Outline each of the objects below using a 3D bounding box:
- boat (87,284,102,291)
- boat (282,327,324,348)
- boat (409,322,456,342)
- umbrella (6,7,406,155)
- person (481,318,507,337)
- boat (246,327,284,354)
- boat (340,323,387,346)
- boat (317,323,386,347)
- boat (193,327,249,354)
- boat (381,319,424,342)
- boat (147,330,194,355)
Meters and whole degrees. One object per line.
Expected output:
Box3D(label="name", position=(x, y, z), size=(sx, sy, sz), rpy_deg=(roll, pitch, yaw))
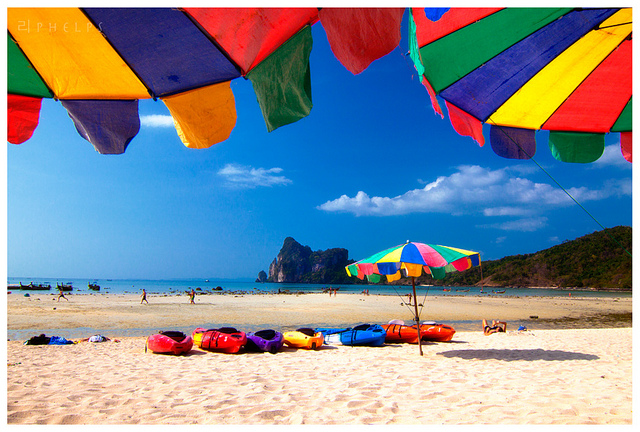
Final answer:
Box3D(label="boat", position=(-21.356, 6.839, 50.232), size=(1.010, 0.349, 0.974), rpy_deg=(0, -5, 10))
Box3D(label="boat", position=(-0.414, 2.947, 12.769), size=(0.789, 0.241, 0.468), rpy_deg=(-2, -6, 21))
Box3D(label="boat", position=(3.009, 2.960, 13.777), size=(0.920, 0.291, 0.553), rpy_deg=(-3, -23, -5))
Box3D(label="umbrella", position=(-1.913, -1.918, 7.091), size=(5.149, 1.953, 0.709), rpy_deg=(-4, 1, 4))
Box3D(label="person", position=(5.238, 3.354, 15.880), size=(0.657, 0.363, 1.310), rpy_deg=(-4, 0, 15))
Box3D(label="boat", position=(-1.308, 2.943, 12.337), size=(0.791, 0.524, 0.688), rpy_deg=(-5, 1, 6))
Box3D(label="boat", position=(1.088, 2.974, 13.154), size=(0.943, 0.307, 0.483), rpy_deg=(-4, -23, 7))
Box3D(label="boat", position=(0.829, 2.958, 13.300), size=(1.224, 0.355, 0.659), rpy_deg=(-4, -10, 18))
Box3D(label="boat", position=(-2.284, 2.868, 12.271), size=(1.055, 0.315, 0.598), rpy_deg=(1, 4, 28))
Box3D(label="boat", position=(2.195, 2.932, 13.265), size=(0.457, 0.425, 1.358), rpy_deg=(5, -7, -39))
Box3D(label="boat", position=(-3.384, 2.903, 11.967), size=(0.782, 0.524, 0.824), rpy_deg=(-5, 1, -39))
